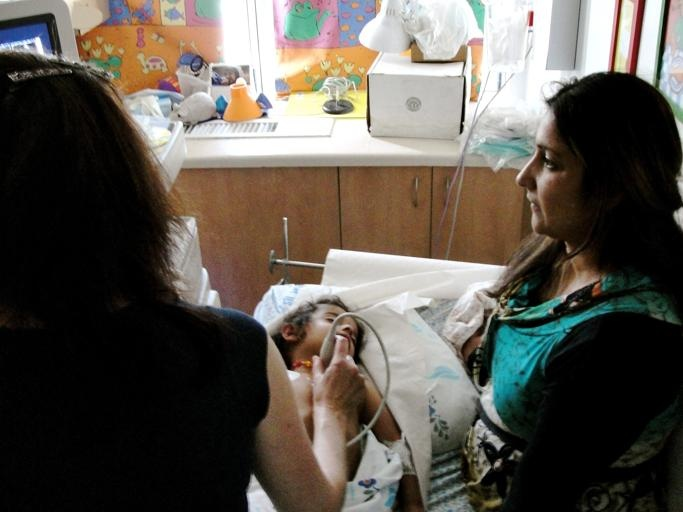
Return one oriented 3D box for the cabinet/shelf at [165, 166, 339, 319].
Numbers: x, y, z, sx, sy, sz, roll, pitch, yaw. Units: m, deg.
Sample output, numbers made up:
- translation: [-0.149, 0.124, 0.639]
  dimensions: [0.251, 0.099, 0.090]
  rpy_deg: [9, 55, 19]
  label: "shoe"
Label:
- translation: [-0.325, -0.098, 2.227]
  dimensions: [0.595, 0.621, 0.215]
  rpy_deg: [0, 29, 0]
  label: "cabinet/shelf"
